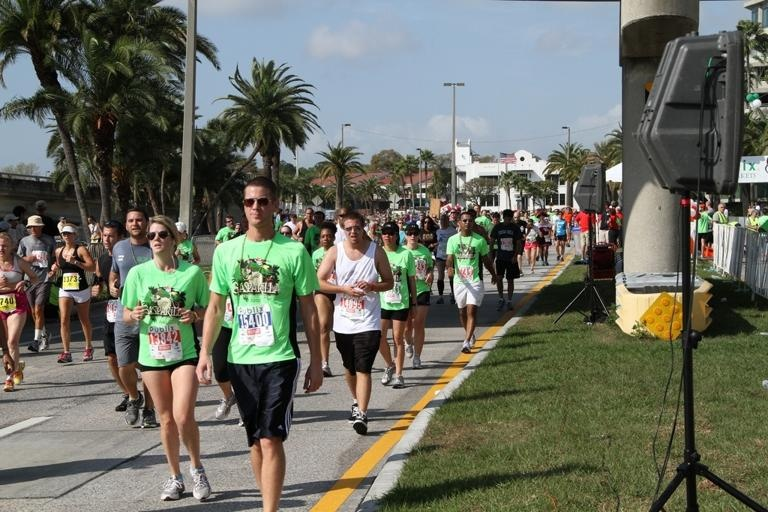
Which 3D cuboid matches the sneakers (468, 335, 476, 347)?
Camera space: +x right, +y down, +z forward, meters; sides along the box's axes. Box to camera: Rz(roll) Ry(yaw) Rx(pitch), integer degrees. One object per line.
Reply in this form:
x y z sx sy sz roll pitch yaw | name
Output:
1.540 1.462 14.395 0.109 0.179 0.362 0 -3 15 | sneakers

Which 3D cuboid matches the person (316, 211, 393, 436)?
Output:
-0.365 0.815 10.864 0.923 2.809 1.127 -4 2 -13 | person

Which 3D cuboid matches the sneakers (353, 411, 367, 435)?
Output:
-0.309 2.057 10.368 0.104 0.155 0.344 3 -32 4 | sneakers

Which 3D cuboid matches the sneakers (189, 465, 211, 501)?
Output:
-1.993 2.429 8.953 0.136 0.190 0.417 -5 9 -17 | sneakers

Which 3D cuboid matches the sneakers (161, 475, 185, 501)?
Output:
-2.315 2.500 8.998 0.133 0.185 0.362 -2 -11 3 | sneakers

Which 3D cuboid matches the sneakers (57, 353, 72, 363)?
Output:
-5.542 1.710 14.206 0.293 0.168 0.130 4 3 5 | sneakers

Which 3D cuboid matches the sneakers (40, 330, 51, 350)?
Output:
-6.288 1.530 15.244 0.106 0.400 0.149 1 -11 4 | sneakers

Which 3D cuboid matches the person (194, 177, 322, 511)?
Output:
-1.266 0.911 8.449 1.207 2.338 0.813 -3 2 -7 | person

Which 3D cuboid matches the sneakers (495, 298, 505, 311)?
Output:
2.656 1.086 18.954 0.108 0.168 0.354 -11 5 23 | sneakers

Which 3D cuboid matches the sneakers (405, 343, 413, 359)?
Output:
0.423 1.594 14.162 0.082 0.310 0.113 -1 4 12 | sneakers

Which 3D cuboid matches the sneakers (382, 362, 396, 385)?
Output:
0.051 1.793 12.769 0.118 0.157 0.385 -19 25 35 | sneakers

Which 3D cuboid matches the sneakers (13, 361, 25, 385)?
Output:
-5.702 1.778 12.824 0.118 0.450 0.167 1 3 13 | sneakers

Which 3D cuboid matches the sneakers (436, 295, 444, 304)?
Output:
1.420 1.092 20.996 0.223 0.259 0.117 18 -19 -28 | sneakers

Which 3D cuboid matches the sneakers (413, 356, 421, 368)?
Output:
0.521 1.701 13.531 0.101 0.156 0.322 -1 -10 1 | sneakers

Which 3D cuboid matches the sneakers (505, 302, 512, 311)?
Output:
2.846 1.120 18.915 0.116 0.177 0.365 -2 -7 11 | sneakers
